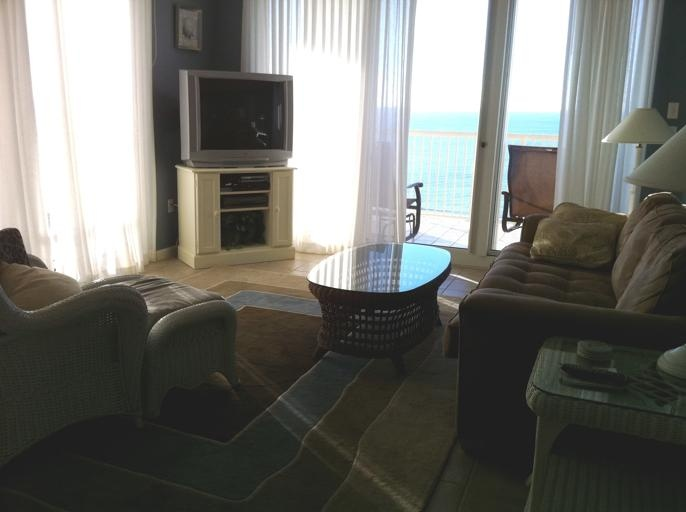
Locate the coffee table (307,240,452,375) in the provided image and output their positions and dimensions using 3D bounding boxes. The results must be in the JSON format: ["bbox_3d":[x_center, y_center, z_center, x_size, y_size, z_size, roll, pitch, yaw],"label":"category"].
[{"bbox_3d":[0.286,0.307,3.441,0.793,0.526,1.310,5,15,25],"label":"coffee table"}]

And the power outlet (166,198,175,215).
[{"bbox_3d":[-1.712,-0.492,5.111,0.111,0.157,0.107,9,12,32],"label":"power outlet"}]

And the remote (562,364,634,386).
[{"bbox_3d":[0.839,0.402,1.721,0.131,0.025,0.079,8,19,19],"label":"remote"}]

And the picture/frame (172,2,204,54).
[{"bbox_3d":[-1.532,-2.252,5.014,0.054,0.473,0.536,7,13,20],"label":"picture/frame"}]

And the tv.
[{"bbox_3d":[-1.069,-1.359,5.129,1.020,0.895,0.562,-7,16,-29],"label":"tv"}]
